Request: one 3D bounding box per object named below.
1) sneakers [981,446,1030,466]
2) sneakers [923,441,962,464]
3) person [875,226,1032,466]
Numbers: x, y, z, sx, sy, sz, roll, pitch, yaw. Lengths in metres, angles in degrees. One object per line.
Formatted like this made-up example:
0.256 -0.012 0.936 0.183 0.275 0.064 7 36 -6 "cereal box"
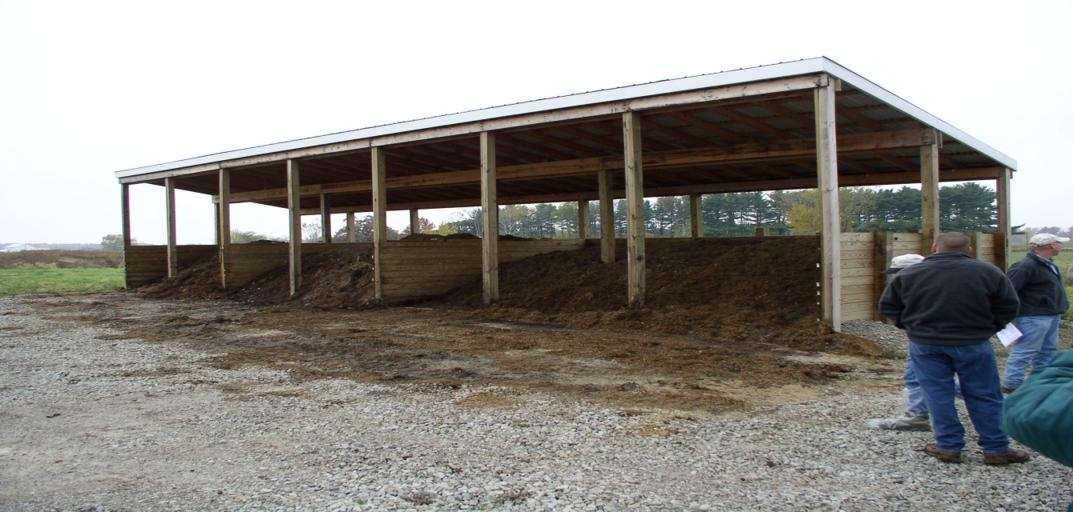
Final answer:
6.612 2.825 9.506 0.758 0.216 0.214 -3 3 -3 "sneakers"
5.773 2.810 9.648 0.243 0.173 0.504 0 7 -45 "sneakers"
5.977 1.306 9.556 1.711 3.236 0.709 0 9 17 "person"
